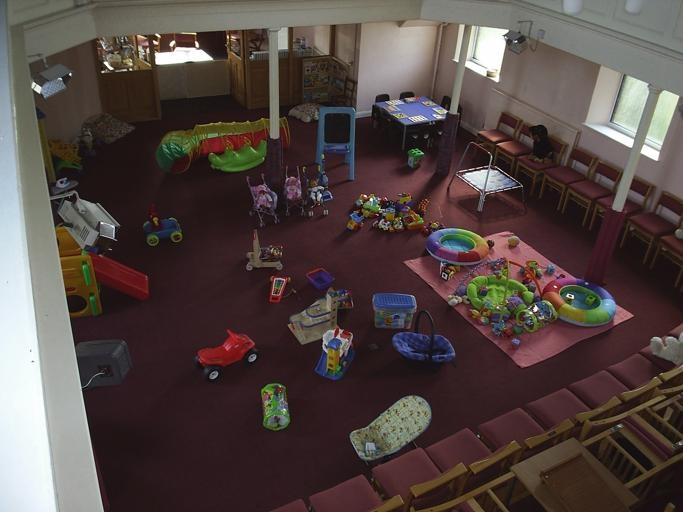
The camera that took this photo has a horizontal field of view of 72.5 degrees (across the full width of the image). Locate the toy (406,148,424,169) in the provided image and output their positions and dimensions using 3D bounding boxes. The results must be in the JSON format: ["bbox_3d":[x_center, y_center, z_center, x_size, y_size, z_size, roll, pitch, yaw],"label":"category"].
[{"bbox_3d":[2.112,-2.744,13.340,0.403,0.498,0.394,-19,48,-25],"label":"toy"}]

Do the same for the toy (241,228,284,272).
[{"bbox_3d":[-1.604,-0.268,9.748,0.853,1.019,0.633,-2,39,-5],"label":"toy"}]

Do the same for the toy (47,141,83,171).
[{"bbox_3d":[-7.098,-2.531,11.913,0.673,0.191,0.727,-1,61,-28],"label":"toy"}]

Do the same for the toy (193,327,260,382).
[{"bbox_3d":[-1.893,1.520,7.744,0.977,0.643,0.609,-20,46,-23],"label":"toy"}]

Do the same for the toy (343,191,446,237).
[{"bbox_3d":[1.191,-0.954,11.116,1.567,0.557,1.212,-12,40,-19],"label":"toy"}]

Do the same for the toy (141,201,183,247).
[{"bbox_3d":[-3.938,-0.668,10.059,0.795,0.309,0.844,-9,49,-13],"label":"toy"}]

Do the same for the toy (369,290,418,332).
[{"bbox_3d":[0.956,0.898,8.520,0.892,0.629,0.578,1,40,-4],"label":"toy"}]

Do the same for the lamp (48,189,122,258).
[{"bbox_3d":[-4.524,-0.527,8.234,1.175,0.630,0.839,41,42,17],"label":"lamp"}]

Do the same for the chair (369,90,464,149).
[{"bbox_3d":[2.165,-4.069,14.409,2.050,1.109,2.056,-7,34,-7],"label":"chair"}]
